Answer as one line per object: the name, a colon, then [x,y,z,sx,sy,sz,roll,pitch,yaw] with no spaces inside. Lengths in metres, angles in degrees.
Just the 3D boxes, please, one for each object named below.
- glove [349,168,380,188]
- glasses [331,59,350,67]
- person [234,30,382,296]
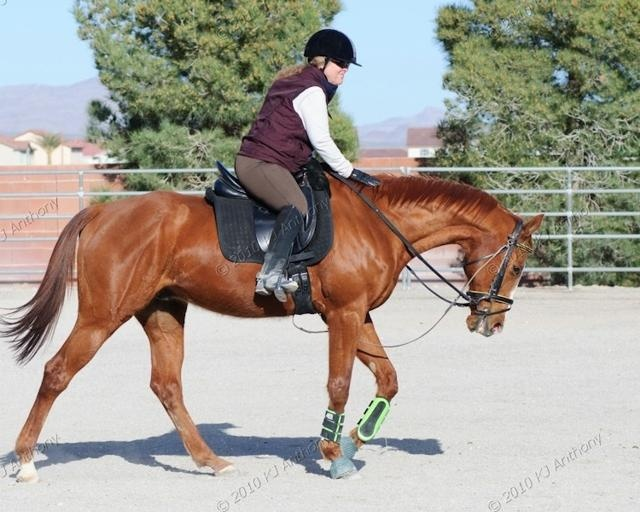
glove: [0.437,-0.793,12.097,0.298,0.144,0.067,26,-25,0]
glasses: [0.185,-1.946,11.949,0.105,0.028,0.098,24,2,6]
person: [-0.271,-0.913,11.851,0.889,2.622,1.417,13,20,42]
